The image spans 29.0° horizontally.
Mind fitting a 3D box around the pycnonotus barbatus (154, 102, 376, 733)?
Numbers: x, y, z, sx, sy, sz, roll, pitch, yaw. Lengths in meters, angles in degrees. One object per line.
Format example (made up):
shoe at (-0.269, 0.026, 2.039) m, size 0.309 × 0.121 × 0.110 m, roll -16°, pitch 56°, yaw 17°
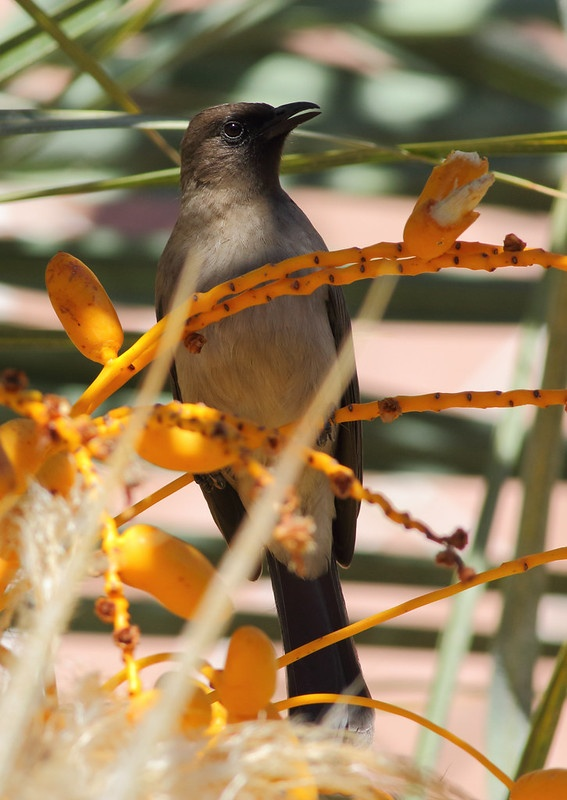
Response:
pycnonotus barbatus at (-0.015, -0.011, 1.517) m, size 0.312 × 0.369 × 0.786 m, roll -6°, pitch -83°, yaw 6°
